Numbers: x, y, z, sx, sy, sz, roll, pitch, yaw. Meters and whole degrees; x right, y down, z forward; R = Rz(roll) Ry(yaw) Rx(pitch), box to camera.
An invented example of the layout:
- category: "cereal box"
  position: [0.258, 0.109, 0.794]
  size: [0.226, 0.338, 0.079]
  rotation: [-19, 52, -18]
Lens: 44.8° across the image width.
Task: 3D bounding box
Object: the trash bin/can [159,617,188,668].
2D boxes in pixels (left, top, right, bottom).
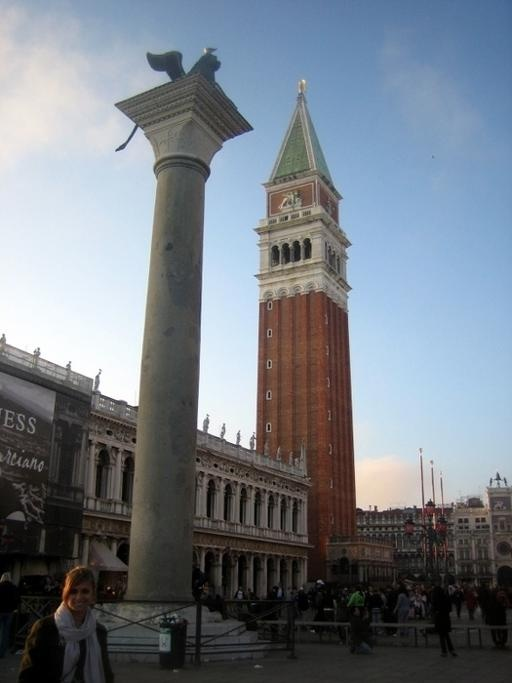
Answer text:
- category: "trash bin/can"
  position: [-1.214, 4.401, 9.134]
  size: [0.367, 0.720, 0.383]
  rotation: [3, -17, -9]
